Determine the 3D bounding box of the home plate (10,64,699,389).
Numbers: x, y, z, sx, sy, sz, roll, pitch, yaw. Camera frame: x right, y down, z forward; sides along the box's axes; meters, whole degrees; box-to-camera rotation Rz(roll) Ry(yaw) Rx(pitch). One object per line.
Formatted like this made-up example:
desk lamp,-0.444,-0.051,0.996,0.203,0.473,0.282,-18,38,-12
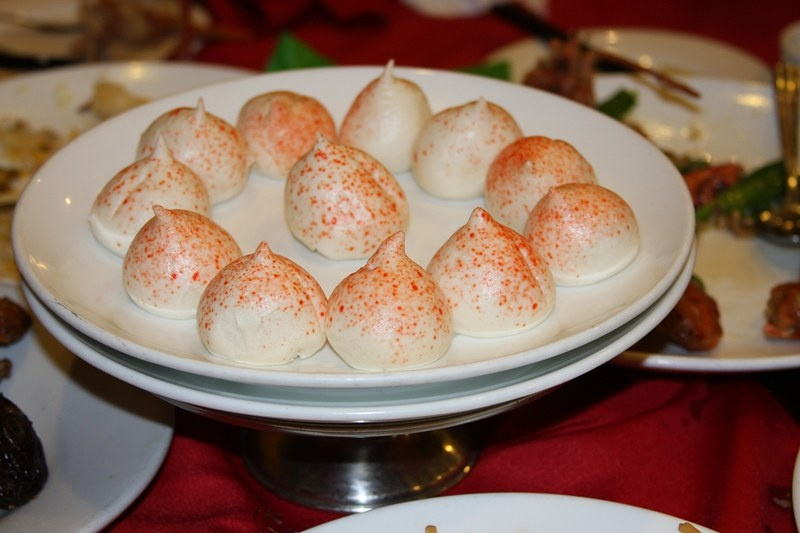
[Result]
home plate,-0.065,-0.048,1.001,0.565,0.458,0.621,4,59,4
